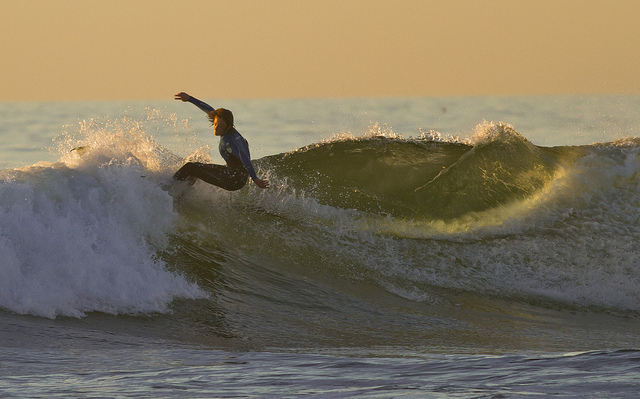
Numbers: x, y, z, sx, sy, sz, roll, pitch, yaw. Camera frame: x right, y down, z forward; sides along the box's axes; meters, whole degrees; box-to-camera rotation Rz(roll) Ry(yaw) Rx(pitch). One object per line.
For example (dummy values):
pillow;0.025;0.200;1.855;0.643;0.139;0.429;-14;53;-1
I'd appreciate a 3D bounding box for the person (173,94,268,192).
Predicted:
person;-1.620;-0.932;17.604;1.665;1.627;0.429;9;13;25

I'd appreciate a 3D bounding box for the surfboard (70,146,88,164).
surfboard;-4.063;-0.793;17.630;0.233;0.228;0.243;9;12;24

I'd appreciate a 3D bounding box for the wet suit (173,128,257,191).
wet suit;-1.600;-0.707;17.669;1.487;1.061;0.372;9;13;26
